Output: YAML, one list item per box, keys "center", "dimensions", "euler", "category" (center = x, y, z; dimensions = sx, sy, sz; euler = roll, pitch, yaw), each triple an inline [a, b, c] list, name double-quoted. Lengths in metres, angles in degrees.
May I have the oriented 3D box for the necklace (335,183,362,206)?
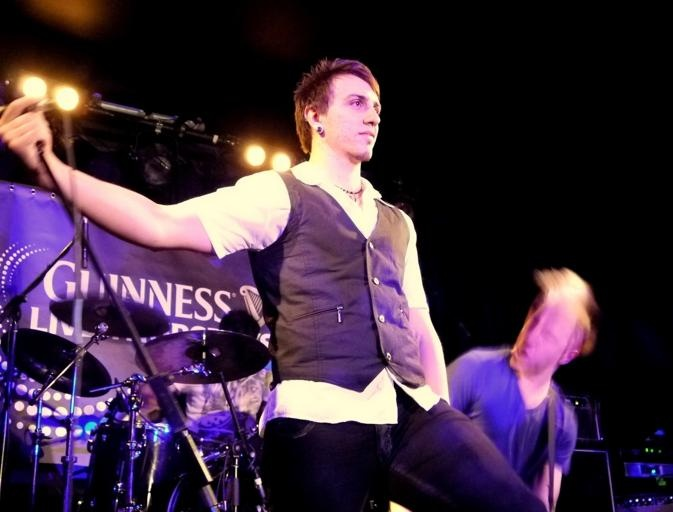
- center: [0.090, -0.312, 3.416]
  dimensions: [0.085, 0.112, 0.035]
  euler: [-3, -53, -23]
  category: "necklace"

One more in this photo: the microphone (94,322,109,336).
- center: [-1.872, 0.558, 5.364]
  dimensions: [0.108, 0.118, 0.124]
  euler: [1, -26, -20]
  category: "microphone"
